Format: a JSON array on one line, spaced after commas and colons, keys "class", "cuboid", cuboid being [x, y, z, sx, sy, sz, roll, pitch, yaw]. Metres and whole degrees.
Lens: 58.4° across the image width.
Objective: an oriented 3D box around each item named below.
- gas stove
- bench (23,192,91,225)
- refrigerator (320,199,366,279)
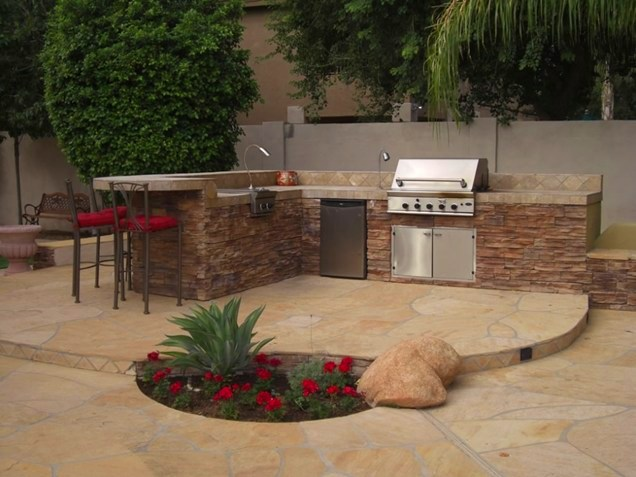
[{"class": "gas stove", "cuboid": [1.668, -0.733, 7.573, 1.264, 0.765, 0.856, 5, 10, 27]}, {"class": "bench", "cuboid": [-5.786, -0.631, 12.646, 1.323, 0.862, 0.813, 3, 13, -16]}, {"class": "refrigerator", "cuboid": [0.332, 0.006, 7.774, 0.587, 1.076, 0.473, 7, 12, 37]}]
